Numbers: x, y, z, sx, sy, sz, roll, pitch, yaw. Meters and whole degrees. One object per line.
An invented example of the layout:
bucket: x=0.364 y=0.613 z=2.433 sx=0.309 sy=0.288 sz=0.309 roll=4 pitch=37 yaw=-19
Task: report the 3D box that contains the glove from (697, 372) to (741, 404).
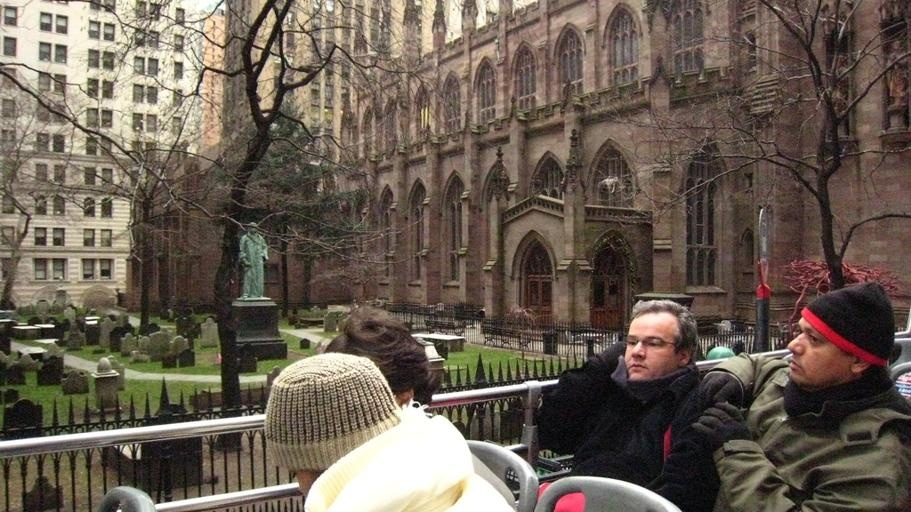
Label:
glove: x=6.088 y=3.079 z=18.147 sx=0.409 sy=0.544 sz=0.571 roll=30 pitch=-4 yaw=-26
